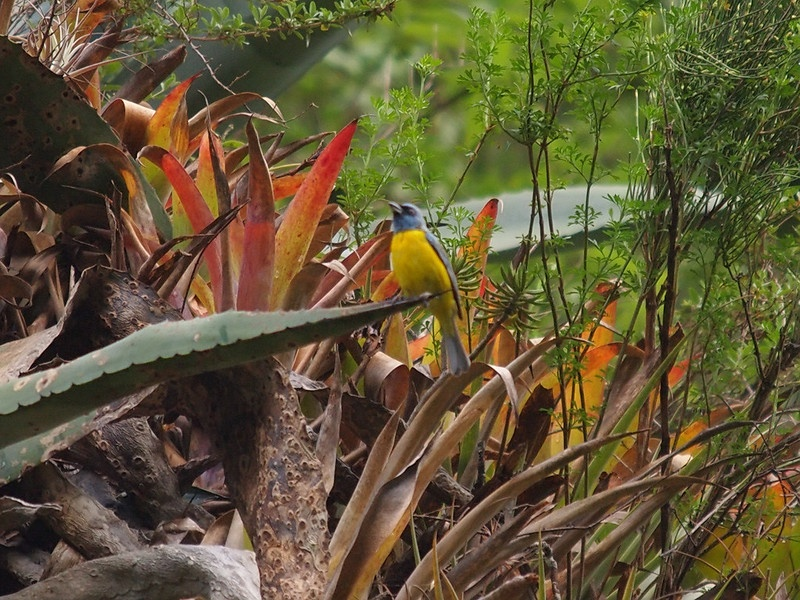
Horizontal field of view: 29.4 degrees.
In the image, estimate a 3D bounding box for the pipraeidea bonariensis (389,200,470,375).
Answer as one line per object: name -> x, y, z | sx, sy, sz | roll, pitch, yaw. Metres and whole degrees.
pipraeidea bonariensis -> 0.070, -0.026, 3.803 | 0.407, 0.114, 0.190 | 65, 13, 14
